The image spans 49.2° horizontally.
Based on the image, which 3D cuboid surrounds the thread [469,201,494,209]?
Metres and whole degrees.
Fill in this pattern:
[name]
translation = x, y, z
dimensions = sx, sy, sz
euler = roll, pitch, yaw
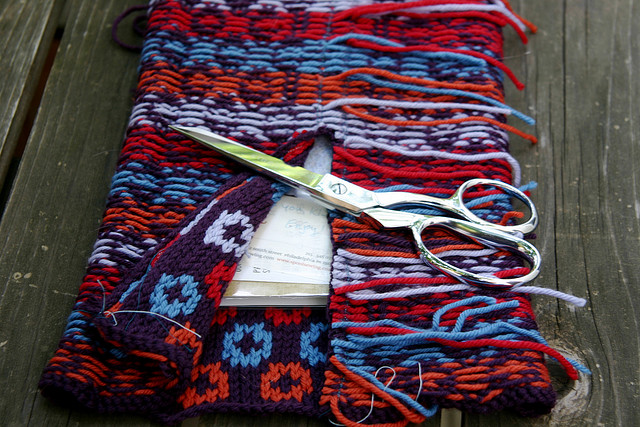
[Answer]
[thread]
translation = 0.254, -0.015, 1.096
dimensions = 0.025, 0.004, 0.016
euler = -7, 20, 1
